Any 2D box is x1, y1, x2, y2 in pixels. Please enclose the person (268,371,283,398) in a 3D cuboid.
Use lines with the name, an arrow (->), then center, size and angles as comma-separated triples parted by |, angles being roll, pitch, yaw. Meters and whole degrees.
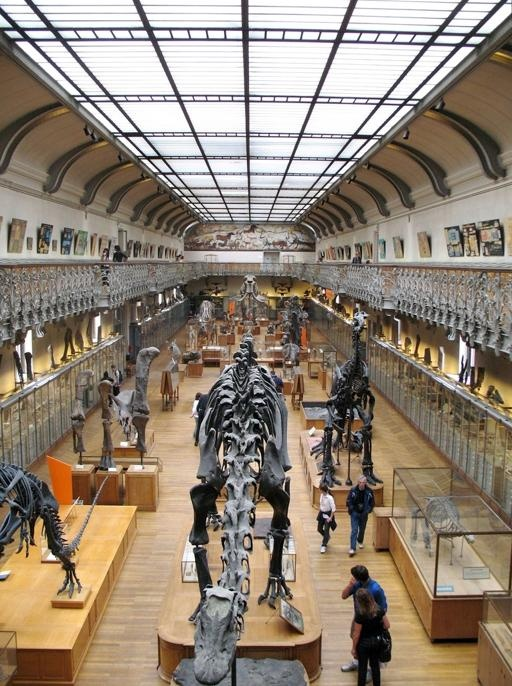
person -> 0.703, 1.352, 14.403 | 0.514, 0.592, 1.591 | 5, -3, -4

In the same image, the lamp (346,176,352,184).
lamp -> 5.163, -9.010, 23.092 | 0.414, 0.149, 0.396 | -1, -24, -6

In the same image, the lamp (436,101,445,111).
lamp -> 4.891, -6.305, 11.040 | 0.181, 0.180, 0.321 | 1, 2, 6

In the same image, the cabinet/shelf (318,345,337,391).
cabinet/shelf -> 3.209, 1.140, 18.873 | 0.544, 1.493, 1.702 | -1, 8, 1

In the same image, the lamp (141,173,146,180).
lamp -> -6.084, -9.029, 22.620 | 0.249, 0.264, 0.175 | 0, 21, -22

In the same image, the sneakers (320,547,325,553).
sneakers -> 1.190, 3.671, 7.401 | 0.052, 0.058, 0.143 | -1, -4, 7

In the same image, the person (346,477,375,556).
person -> 1.763, 2.926, 7.080 | 0.411, 1.606, 1.062 | 0, -1, 13

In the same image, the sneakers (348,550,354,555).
sneakers -> 1.662, 3.635, 7.226 | 0.054, 0.072, 0.167 | -2, -9, 10

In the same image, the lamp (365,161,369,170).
lamp -> 5.087, -8.091, 18.994 | 0.147, 0.281, 0.202 | -2, 8, 4

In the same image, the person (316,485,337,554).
person -> 1.286, 3.050, 7.604 | 0.307, 1.408, 1.532 | 0, -1, 10

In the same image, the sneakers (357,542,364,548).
sneakers -> 1.898, 3.636, 7.522 | 0.057, 0.069, 0.159 | -2, -7, 4
